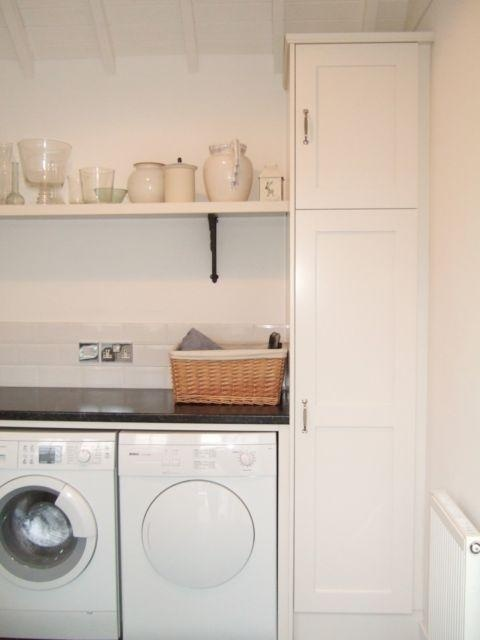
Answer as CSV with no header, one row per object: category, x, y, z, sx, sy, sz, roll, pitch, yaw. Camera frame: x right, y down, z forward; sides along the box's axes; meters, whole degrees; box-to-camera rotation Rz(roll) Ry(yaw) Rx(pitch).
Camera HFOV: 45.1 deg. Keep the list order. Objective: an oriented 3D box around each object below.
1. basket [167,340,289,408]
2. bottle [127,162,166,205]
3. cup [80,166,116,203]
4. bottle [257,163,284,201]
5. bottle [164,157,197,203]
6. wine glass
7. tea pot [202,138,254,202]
basket,-0.048,0.201,2.158,0.330,0.159,0.238,0,-4,3
bottle,-0.358,-0.540,2.350,0.157,0.192,0.156,5,5,11
cup,-0.557,-0.526,2.262,0.134,0.134,0.124,2,6,0
bottle,0.123,-0.530,2.252,0.088,0.142,0.101,-2,6,0
bottle,-0.234,-0.536,2.269,0.124,0.167,0.159,-3,6,-7
wine glass,-0.760,-0.595,2.387,0.237,0.282,0.245,3,8,6
tea pot,-0.045,-0.563,2.190,0.172,0.232,0.234,-1,10,-8
